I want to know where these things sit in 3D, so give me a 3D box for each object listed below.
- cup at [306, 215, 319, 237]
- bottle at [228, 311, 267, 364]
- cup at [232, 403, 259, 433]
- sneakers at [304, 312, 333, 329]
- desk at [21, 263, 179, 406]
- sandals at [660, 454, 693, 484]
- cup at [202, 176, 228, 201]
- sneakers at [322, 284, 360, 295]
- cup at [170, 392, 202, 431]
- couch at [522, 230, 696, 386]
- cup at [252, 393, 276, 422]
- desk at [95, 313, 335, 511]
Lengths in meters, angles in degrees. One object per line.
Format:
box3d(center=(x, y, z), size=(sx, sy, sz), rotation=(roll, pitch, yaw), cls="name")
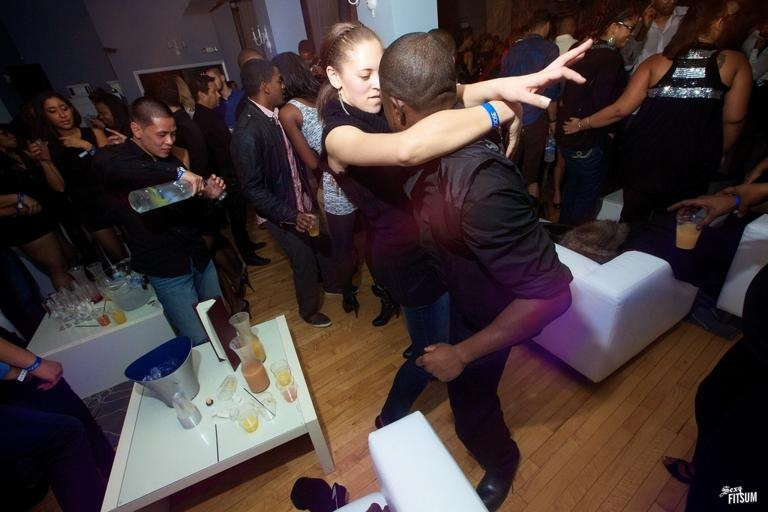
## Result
box3d(center=(-0.546, -0.239, 3.381), size=(0.091, 0.133, 0.087), rotation=(0, 39, 0), cls="cup")
box3d(center=(-0.944, 0.569, 3.047), size=(0.158, 0.383, 0.158), rotation=(-16, 32, 10), cls="bottle")
box3d(center=(-0.867, 0.997, 2.827), size=(0.117, 0.122, 0.171), rotation=(-26, 30, -25), cls="cup")
box3d(center=(-0.563, 0.546, 3.826), size=(0.224, 0.090, 0.107), rotation=(8, 33, 23), cls="sneakers")
box3d(center=(-2.135, 0.652, 3.391), size=(0.763, 0.501, 0.825), rotation=(28, 41, 23), cls="desk")
box3d(center=(1.829, 1.307, 2.766), size=(0.164, 0.123, 0.116), rotation=(24, 44, 35), cls="sandals")
box3d(center=(-1.309, -0.515, 3.412), size=(0.169, 0.175, 0.302), rotation=(-46, 25, -3), cls="cup")
box3d(center=(-0.393, 0.321, 4.024), size=(0.336, 0.135, 0.117), rotation=(3, 14, 1), cls="sneakers")
box3d(center=(-1.253, 0.983, 2.795), size=(0.111, 0.208, 0.098), rotation=(-25, 46, -5), cls="cup")
box3d(center=(1.592, 0.341, 3.312), size=(0.963, 0.814, 0.973), rotation=(-31, 32, -14), cls="couch")
box3d(center=(-0.781, 0.962, 2.861), size=(0.148, 0.146, 0.102), rotation=(-4, 33, 38), cls="cup")
box3d(center=(-1.175, 1.194, 2.802), size=(0.994, 0.566, 1.139), rotation=(-28, 48, -20), cls="desk")
